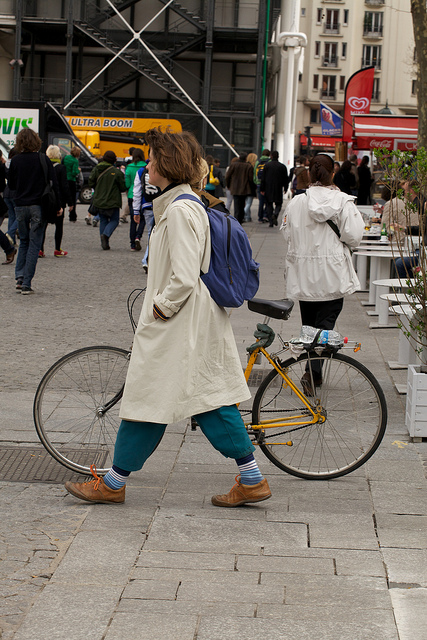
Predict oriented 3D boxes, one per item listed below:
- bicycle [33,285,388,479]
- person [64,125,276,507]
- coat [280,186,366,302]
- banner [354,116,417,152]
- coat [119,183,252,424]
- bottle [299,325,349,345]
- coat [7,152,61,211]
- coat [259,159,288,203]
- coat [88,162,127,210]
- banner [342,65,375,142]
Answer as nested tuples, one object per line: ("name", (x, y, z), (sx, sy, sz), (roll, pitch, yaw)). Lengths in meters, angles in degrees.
("bicycle", (0.007, 0.323, 4.092), (2.118, 1.224, 0.943), (3, 3, -3))
("person", (-0.144, 0.020, 3.049), (0.899, 1.807, 0.478), (1, 3, -12))
("coat", (0.931, -0.644, 5.579), (0.661, 0.972, 0.291), (2, 2, 6))
("banner", (4.399, -4.711, 16.732), (1.511, 0.727, 1.133), (2, 2, 17))
("coat", (-0.116, -0.079, 3.061), (0.518, 1.105, 0.378), (0, 3, -44))
("bottle", (0.704, 0.097, 4.180), (0.253, 0.087, 0.087), (6, -34, 4))
("coat", (-2.854, -2.146, 10.032), (0.630, 0.840, 0.215), (2, 3, 13))
("coat", (1.814, -4.114, 19.501), (0.809, 1.292, 0.541), (2, 2, 5))
("coat", (-2.472, -3.075, 15.152), (0.872, 1.149, 0.873), (2, 2, -5))
("banner", (4.476, -6.745, 20.478), (0.972, 3.051, 0.157), (6, -26, 8))
